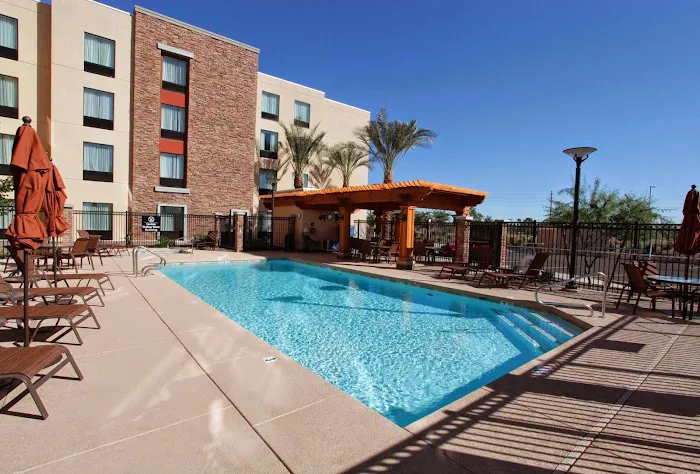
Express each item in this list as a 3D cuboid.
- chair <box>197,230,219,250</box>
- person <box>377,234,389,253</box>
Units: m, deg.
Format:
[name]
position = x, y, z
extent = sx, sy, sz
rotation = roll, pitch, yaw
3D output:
[chair]
position = -8.528, 0.071, 26.246
extent = 0.947, 0.964, 1.509
rotation = -1, -4, 29
[person]
position = 1.783, 0.341, 24.174
extent = 0.375, 0.424, 0.969
rotation = 23, 10, -8
